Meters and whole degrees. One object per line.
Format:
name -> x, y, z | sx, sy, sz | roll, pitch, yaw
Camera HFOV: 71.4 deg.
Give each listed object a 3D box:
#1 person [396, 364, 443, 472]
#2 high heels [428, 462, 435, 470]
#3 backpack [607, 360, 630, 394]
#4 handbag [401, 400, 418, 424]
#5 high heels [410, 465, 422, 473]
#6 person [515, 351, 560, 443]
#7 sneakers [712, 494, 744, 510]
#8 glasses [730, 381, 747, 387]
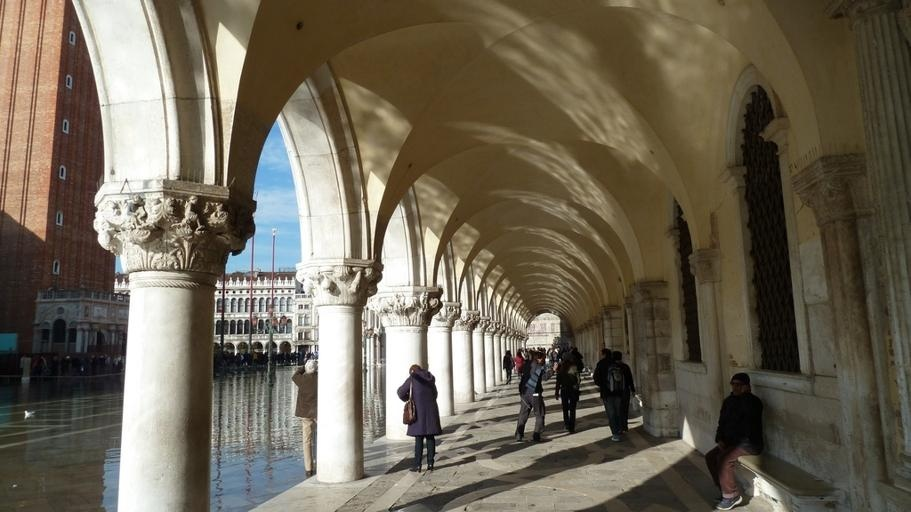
person -> -0.671, 2.870, 11.303 | 0.705, 1.816, 1.038 | -2, -12, -5
high heels -> -0.440, 3.710, 11.150 | 0.051, 0.060, 0.146 | 5, -5, -18
backpack -> 3.362, 2.532, 13.159 | 0.464, 0.692, 0.221 | 5, -15, -32
handbag -> -0.787, 2.694, 10.928 | 0.218, 0.405, 0.208 | 0, -13, -10
high heels -> -0.687, 3.706, 11.059 | 0.240, 0.100, 0.086 | -3, -9, 36
person -> 1.616, 3.046, 13.760 | 0.760, 1.841, 1.568 | -4, -12, 4
sneakers -> 3.898, 3.504, 9.089 | 0.460, 0.201, 0.163 | -2, -5, -11
glasses -> 4.204, 1.893, 9.396 | 0.168, 0.048, 0.160 | 14, -14, -43
